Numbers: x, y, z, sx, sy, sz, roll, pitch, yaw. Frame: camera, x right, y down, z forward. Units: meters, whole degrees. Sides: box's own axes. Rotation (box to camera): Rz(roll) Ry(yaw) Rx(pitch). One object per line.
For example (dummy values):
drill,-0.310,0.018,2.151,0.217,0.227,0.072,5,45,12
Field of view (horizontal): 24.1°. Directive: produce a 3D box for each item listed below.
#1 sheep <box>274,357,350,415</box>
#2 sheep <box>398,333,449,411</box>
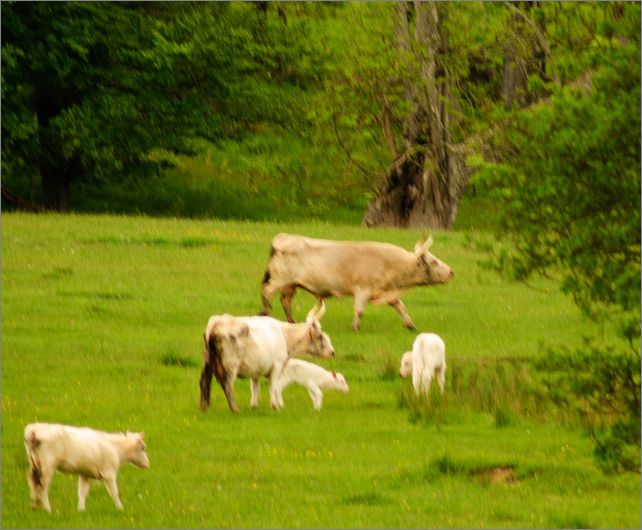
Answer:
sheep,-0.221,2.727,33.501,1.852,1.529,0.759,11,-8,-5
sheep,2.317,2.143,33.848,1.081,1.395,2.097,6,7,4
